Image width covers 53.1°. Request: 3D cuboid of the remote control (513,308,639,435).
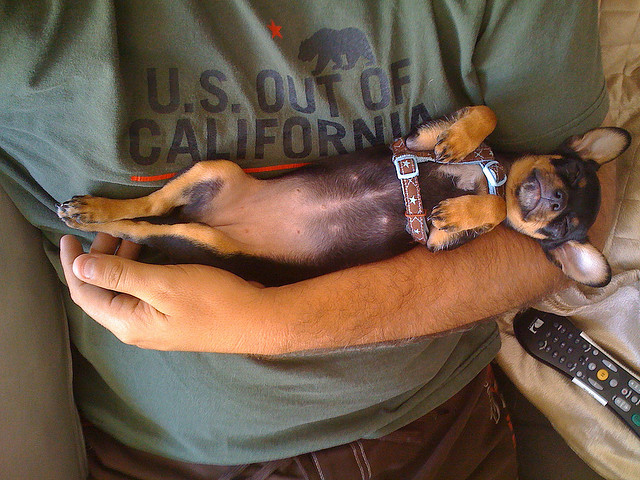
[{"bbox_3d":[1.368,0.642,3.333,0.895,0.099,0.286,40,100,24],"label":"remote control"}]
